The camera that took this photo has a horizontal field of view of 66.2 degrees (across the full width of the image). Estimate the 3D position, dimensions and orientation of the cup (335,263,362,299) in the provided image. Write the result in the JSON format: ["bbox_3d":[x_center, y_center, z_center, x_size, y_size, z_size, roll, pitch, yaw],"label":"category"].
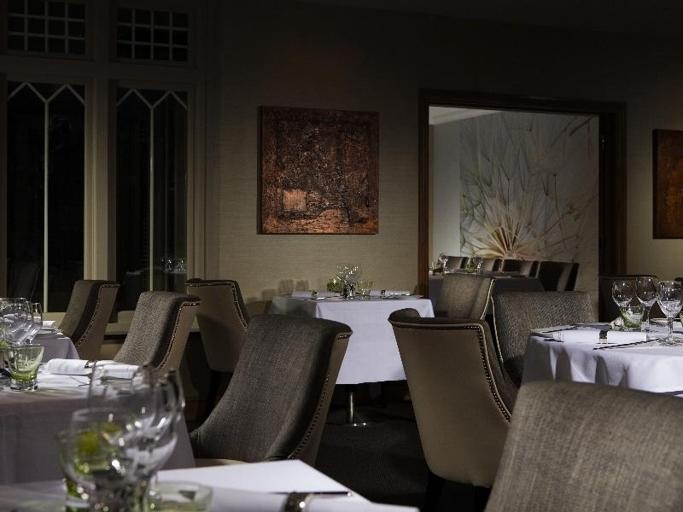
[{"bbox_3d":[0.084,0.241,4.960,0.245,0.325,0.265,1,0,0],"label":"cup"}]

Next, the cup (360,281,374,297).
[{"bbox_3d":[0.240,0.307,4.983,0.116,0.147,0.121,0,0,0],"label":"cup"}]
